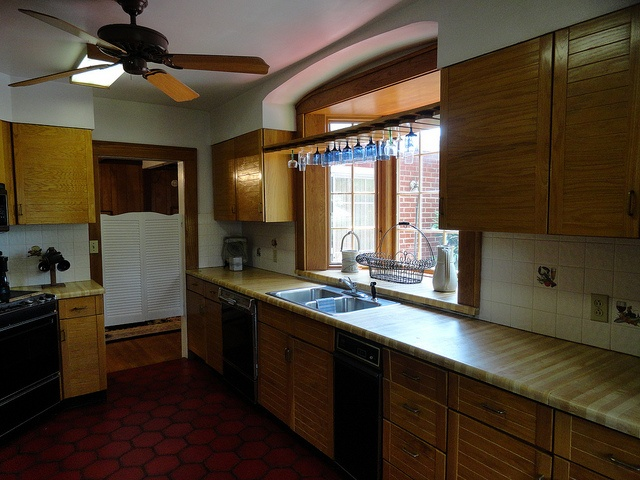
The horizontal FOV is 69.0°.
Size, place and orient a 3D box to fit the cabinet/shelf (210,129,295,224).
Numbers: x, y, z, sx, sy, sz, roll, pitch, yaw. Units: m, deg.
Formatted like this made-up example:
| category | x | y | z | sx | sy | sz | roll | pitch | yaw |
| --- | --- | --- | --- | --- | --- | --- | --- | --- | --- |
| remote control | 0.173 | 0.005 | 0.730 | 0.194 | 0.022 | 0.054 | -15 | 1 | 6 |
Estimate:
| category | x | y | z | sx | sy | sz | roll | pitch | yaw |
| --- | --- | --- | --- | --- | --- | --- | --- | --- | --- |
| cabinet/shelf | -0.704 | -0.600 | 4.843 | 0.432 | 0.846 | 1.186 | -4 | 5 | -33 |

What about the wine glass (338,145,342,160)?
| category | x | y | z | sx | sy | sz | roll | pitch | yaw |
| --- | --- | --- | --- | --- | --- | --- | --- | --- | --- |
| wine glass | 0.143 | -0.599 | 3.330 | 0.023 | 0.080 | 0.052 | -2 | 11 | -7 |

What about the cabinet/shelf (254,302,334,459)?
| category | x | y | z | sx | sy | sz | roll | pitch | yaw |
| --- | --- | --- | --- | --- | --- | --- | --- | --- | --- |
| cabinet/shelf | -0.019 | 0.953 | 3.597 | 0.534 | 0.879 | 0.975 | -4 | 4 | -40 |

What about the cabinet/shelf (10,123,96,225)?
| category | x | y | z | sx | sy | sz | roll | pitch | yaw |
| --- | --- | --- | --- | --- | --- | --- | --- | --- | --- |
| cabinet/shelf | -2.475 | -0.552 | 4.309 | 0.606 | 0.866 | 0.680 | -6 | -3 | 44 |

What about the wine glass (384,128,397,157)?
| category | x | y | z | sx | sy | sz | roll | pitch | yaw |
| --- | --- | --- | --- | --- | --- | --- | --- | --- | --- |
| wine glass | 0.479 | -0.650 | 3.157 | 0.079 | 0.195 | 0.235 | 1 | 11 | 8 |

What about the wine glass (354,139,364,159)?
| category | x | y | z | sx | sy | sz | roll | pitch | yaw |
| --- | --- | --- | --- | --- | --- | --- | --- | --- | --- |
| wine glass | 0.269 | -0.635 | 3.302 | 0.073 | 0.160 | 0.215 | 0 | 11 | 3 |

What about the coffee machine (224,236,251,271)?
| category | x | y | z | sx | sy | sz | roll | pitch | yaw |
| --- | --- | --- | --- | --- | --- | --- | --- | --- | --- |
| coffee machine | -0.903 | 0.141 | 5.203 | 0.271 | 0.352 | 0.196 | -2 | 13 | 15 |

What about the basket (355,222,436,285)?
| category | x | y | z | sx | sy | sz | roll | pitch | yaw |
| --- | --- | --- | --- | --- | --- | --- | --- | --- | --- |
| basket | 0.628 | 0.096 | 3.834 | 0.655 | 0.429 | 0.335 | 8 | 7 | 22 |

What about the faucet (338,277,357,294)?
| category | x | y | z | sx | sy | sz | roll | pitch | yaw |
| --- | --- | --- | --- | --- | --- | --- | --- | --- | --- |
| faucet | 0.225 | 0.371 | 3.724 | 0.065 | 0.102 | 0.198 | 0 | 3 | -20 |

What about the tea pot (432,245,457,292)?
| category | x | y | z | sx | sy | sz | roll | pitch | yaw |
| --- | --- | --- | --- | --- | --- | --- | --- | --- | --- |
| tea pot | 0.909 | 0.214 | 3.389 | 0.167 | 0.326 | 0.125 | 2 | 12 | 13 |

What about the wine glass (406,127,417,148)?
| category | x | y | z | sx | sy | sz | roll | pitch | yaw |
| --- | --- | --- | --- | --- | --- | --- | --- | --- | --- |
| wine glass | 0.599 | -0.680 | 3.071 | 0.065 | 0.139 | 0.142 | 3 | 11 | 17 |

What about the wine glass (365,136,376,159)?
| category | x | y | z | sx | sy | sz | roll | pitch | yaw |
| --- | --- | --- | --- | --- | --- | --- | --- | --- | --- |
| wine glass | 0.355 | -0.641 | 3.277 | 0.082 | 0.163 | 0.204 | 0 | 11 | 5 |
